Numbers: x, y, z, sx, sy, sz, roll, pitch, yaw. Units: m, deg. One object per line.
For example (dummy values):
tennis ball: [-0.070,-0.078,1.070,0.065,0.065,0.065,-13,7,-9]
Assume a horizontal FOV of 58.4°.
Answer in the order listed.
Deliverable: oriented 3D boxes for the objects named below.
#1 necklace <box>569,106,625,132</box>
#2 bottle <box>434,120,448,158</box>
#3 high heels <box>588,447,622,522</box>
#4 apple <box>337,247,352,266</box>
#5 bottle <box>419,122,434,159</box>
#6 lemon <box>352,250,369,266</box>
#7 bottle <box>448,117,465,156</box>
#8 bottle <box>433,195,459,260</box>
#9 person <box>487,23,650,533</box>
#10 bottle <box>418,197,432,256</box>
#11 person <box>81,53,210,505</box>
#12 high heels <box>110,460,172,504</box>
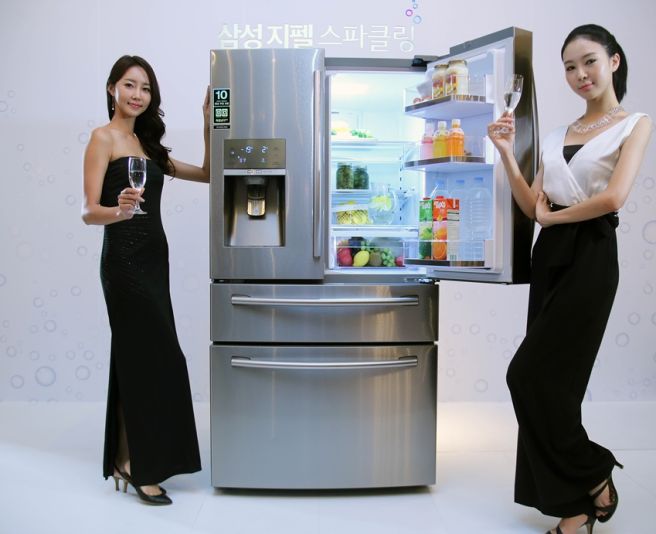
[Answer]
necklace: [1.165,-0.634,2.549,0.152,0.029,0.142,-31,17,13]
bottle: [0.525,-0.600,2.731,0.065,0.163,0.161,1,10,8]
high heels: [1.230,0.967,2.592,0.078,0.330,0.109,-6,10,-43]
apple: [0.086,-0.053,3.135,0.068,0.090,0.090,1,-20,-6]
bottle: [0.476,-0.612,2.830,0.063,0.169,0.121,2,10,10]
lemon: [0.174,-0.049,3.071,0.062,0.081,0.064,36,26,-33]
bottle: [0.592,-0.590,2.715,0.089,0.178,0.095,-3,16,1]
bottle: [0.548,-0.184,2.732,0.119,0.280,0.092,2,9,10]
person: [1.049,0.078,2.578,0.569,2.202,0.434,-3,10,-16]
bottle: [0.465,-0.189,2.823,0.042,0.280,0.135,-1,10,-9]
person: [-0.879,0.064,2.816,0.514,2.110,0.598,-4,10,-24]
high heels: [-0.933,1.087,2.922,0.365,0.176,0.132,10,3,13]
